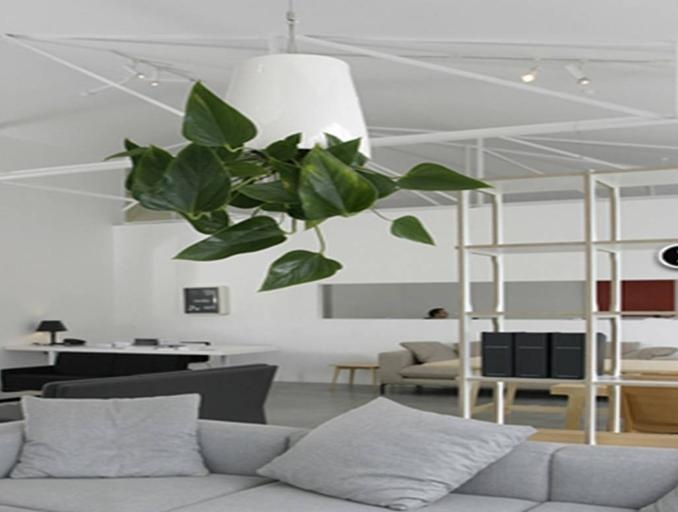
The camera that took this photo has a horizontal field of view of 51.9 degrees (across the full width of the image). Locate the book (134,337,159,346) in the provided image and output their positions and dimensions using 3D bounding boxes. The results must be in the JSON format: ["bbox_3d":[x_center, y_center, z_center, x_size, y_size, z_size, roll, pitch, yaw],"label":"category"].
[{"bbox_3d":[-3.134,1.393,11.340,0.286,0.045,0.226,1,-1,15],"label":"book"}]

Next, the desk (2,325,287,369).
[{"bbox_3d":[-3.514,1.458,11.331,4.213,0.462,1.049,-5,5,24],"label":"desk"}]

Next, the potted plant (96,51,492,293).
[{"bbox_3d":[-0.144,-0.170,1.391,0.814,0.291,0.703,-1,0,-12],"label":"potted plant"}]

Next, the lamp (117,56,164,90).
[{"bbox_3d":[-2.739,-2.582,9.797,0.438,0.088,0.449,10,-9,-24],"label":"lamp"}]

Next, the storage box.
[{"bbox_3d":[1.190,0.607,4.233,0.658,0.206,0.399,0,-1,19],"label":"storage box"}]

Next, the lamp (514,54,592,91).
[{"bbox_3d":[2.491,-2.078,8.027,0.769,0.303,0.800,-6,4,14],"label":"lamp"}]

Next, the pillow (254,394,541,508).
[{"bbox_3d":[0.266,0.748,3.026,0.633,0.142,0.627,-7,8,42],"label":"pillow"}]

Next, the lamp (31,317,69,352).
[{"bbox_3d":[-5.016,1.347,12.069,0.655,0.390,0.538,0,0,0],"label":"lamp"}]
